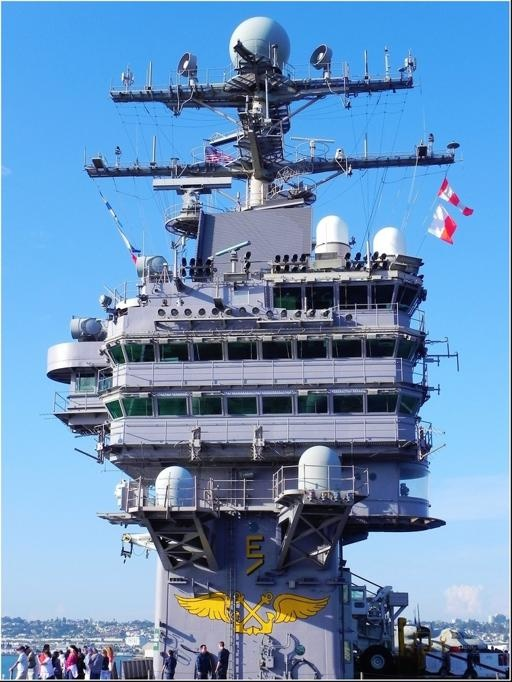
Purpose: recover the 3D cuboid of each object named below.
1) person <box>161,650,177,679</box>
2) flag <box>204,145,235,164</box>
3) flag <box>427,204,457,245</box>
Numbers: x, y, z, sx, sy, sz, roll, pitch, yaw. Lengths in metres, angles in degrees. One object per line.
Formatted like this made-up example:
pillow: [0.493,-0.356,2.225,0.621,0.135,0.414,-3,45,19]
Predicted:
person: [-3.499,13.605,93.917,0.556,1.333,0.558,1,-19,0]
flag: [-1.708,-8.581,104.067,1.500,0.982,0.495,-12,-23,32]
flag: [8.050,-5.260,100.445,1.027,2.020,1.266,-4,-20,14]
